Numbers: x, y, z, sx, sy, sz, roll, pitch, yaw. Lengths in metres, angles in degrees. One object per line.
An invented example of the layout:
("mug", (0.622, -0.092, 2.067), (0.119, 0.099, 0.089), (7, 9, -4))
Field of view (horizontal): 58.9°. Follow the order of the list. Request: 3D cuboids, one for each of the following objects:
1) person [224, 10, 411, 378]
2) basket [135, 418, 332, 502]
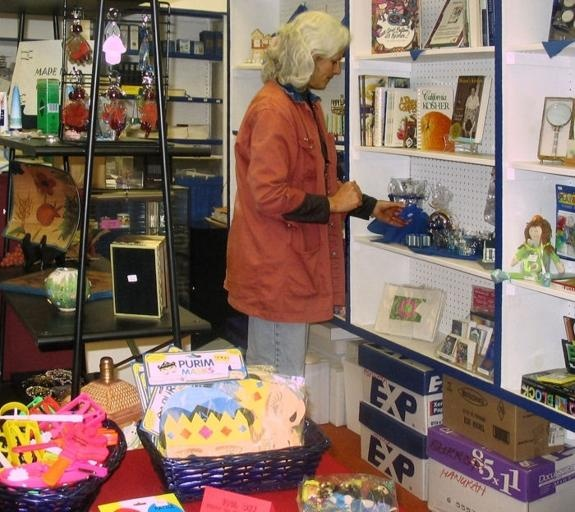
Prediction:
("person", (0.098, -0.244, 2.283), (0.639, 1.588, 0.442), (-3, 10, -24))
("basket", (-0.083, 0.368, 0.911), (0.222, 0.087, 0.175), (-5, 7, -22))
